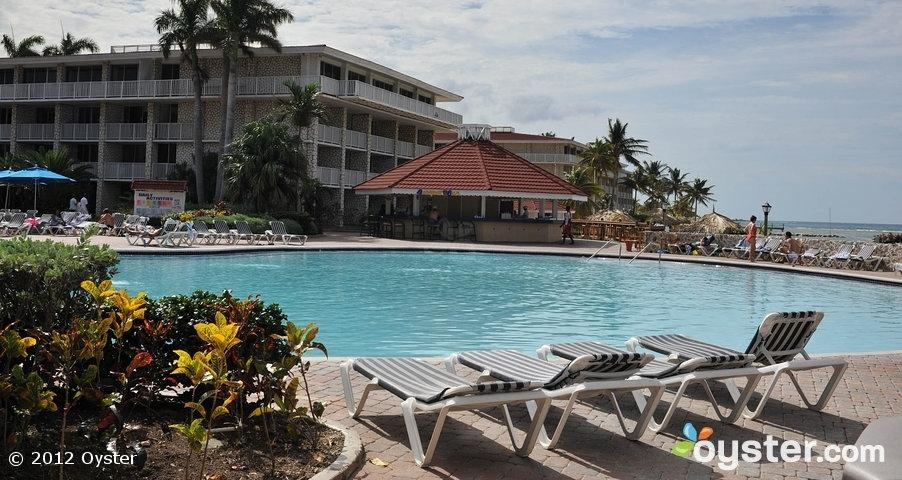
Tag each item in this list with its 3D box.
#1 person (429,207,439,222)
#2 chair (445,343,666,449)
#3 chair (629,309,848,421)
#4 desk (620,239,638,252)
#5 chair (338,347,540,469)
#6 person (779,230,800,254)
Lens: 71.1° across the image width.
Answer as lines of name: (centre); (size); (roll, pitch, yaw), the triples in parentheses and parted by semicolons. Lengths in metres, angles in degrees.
person: (-1.007, -1.576, 39.664); (0.523, 0.926, 1.445); (3, 0, -2)
chair: (1.792, 2.151, 9.119); (1.507, 0.902, 2.954); (3, 4, -26)
chair: (4.348, 2.041, 10.405); (1.804, 1.366, 3.242); (1, -2, -38)
desk: (10.036, 0.286, 34.720); (0.719, 0.666, 2.062); (2, 0, 17)
chair: (-0.215, 2.370, 8.819); (2.889, 1.353, 1.294); (2, 0, 35)
person: (16.387, 0.158, 30.310); (0.820, 1.010, 1.455); (2, 0, 30)
